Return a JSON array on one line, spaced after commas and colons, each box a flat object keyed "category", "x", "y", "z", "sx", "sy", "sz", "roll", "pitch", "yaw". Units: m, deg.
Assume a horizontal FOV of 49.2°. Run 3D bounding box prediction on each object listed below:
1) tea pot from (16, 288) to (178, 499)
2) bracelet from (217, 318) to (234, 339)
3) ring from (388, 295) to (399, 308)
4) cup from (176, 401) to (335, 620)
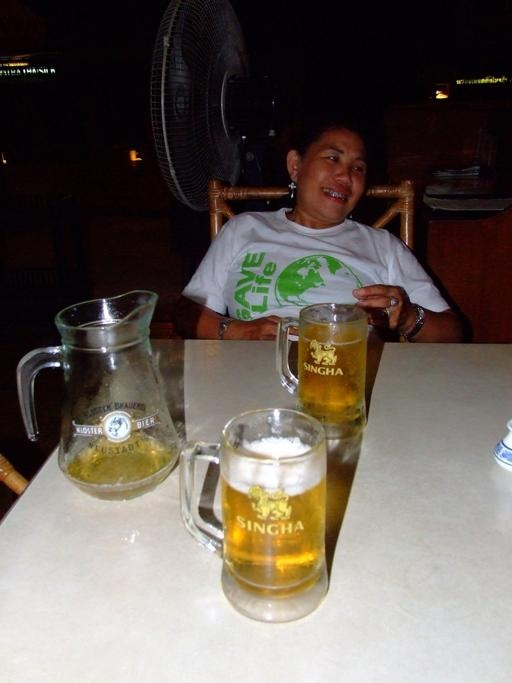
[{"category": "tea pot", "x": -0.156, "y": 0.063, "z": 0.557, "sx": 0.162, "sy": 0.179, "sz": 0.123, "roll": -5, "pitch": 11, "yaw": -4}, {"category": "bracelet", "x": -0.080, "y": -0.031, "z": 1.422, "sx": 0.037, "sy": 0.053, "sz": 0.129, "roll": -4, "pitch": 26, "yaw": -4}, {"category": "ring", "x": 0.258, "y": -0.075, "z": 1.048, "sx": 0.022, "sy": 0.008, "sz": 0.022, "roll": -2, "pitch": 24, "yaw": 1}, {"category": "cup", "x": 0.012, "y": 0.126, "z": 0.413, "sx": 0.082, "sy": 0.141, "sz": 0.091, "roll": -1, "pitch": 27, "yaw": 3}]
